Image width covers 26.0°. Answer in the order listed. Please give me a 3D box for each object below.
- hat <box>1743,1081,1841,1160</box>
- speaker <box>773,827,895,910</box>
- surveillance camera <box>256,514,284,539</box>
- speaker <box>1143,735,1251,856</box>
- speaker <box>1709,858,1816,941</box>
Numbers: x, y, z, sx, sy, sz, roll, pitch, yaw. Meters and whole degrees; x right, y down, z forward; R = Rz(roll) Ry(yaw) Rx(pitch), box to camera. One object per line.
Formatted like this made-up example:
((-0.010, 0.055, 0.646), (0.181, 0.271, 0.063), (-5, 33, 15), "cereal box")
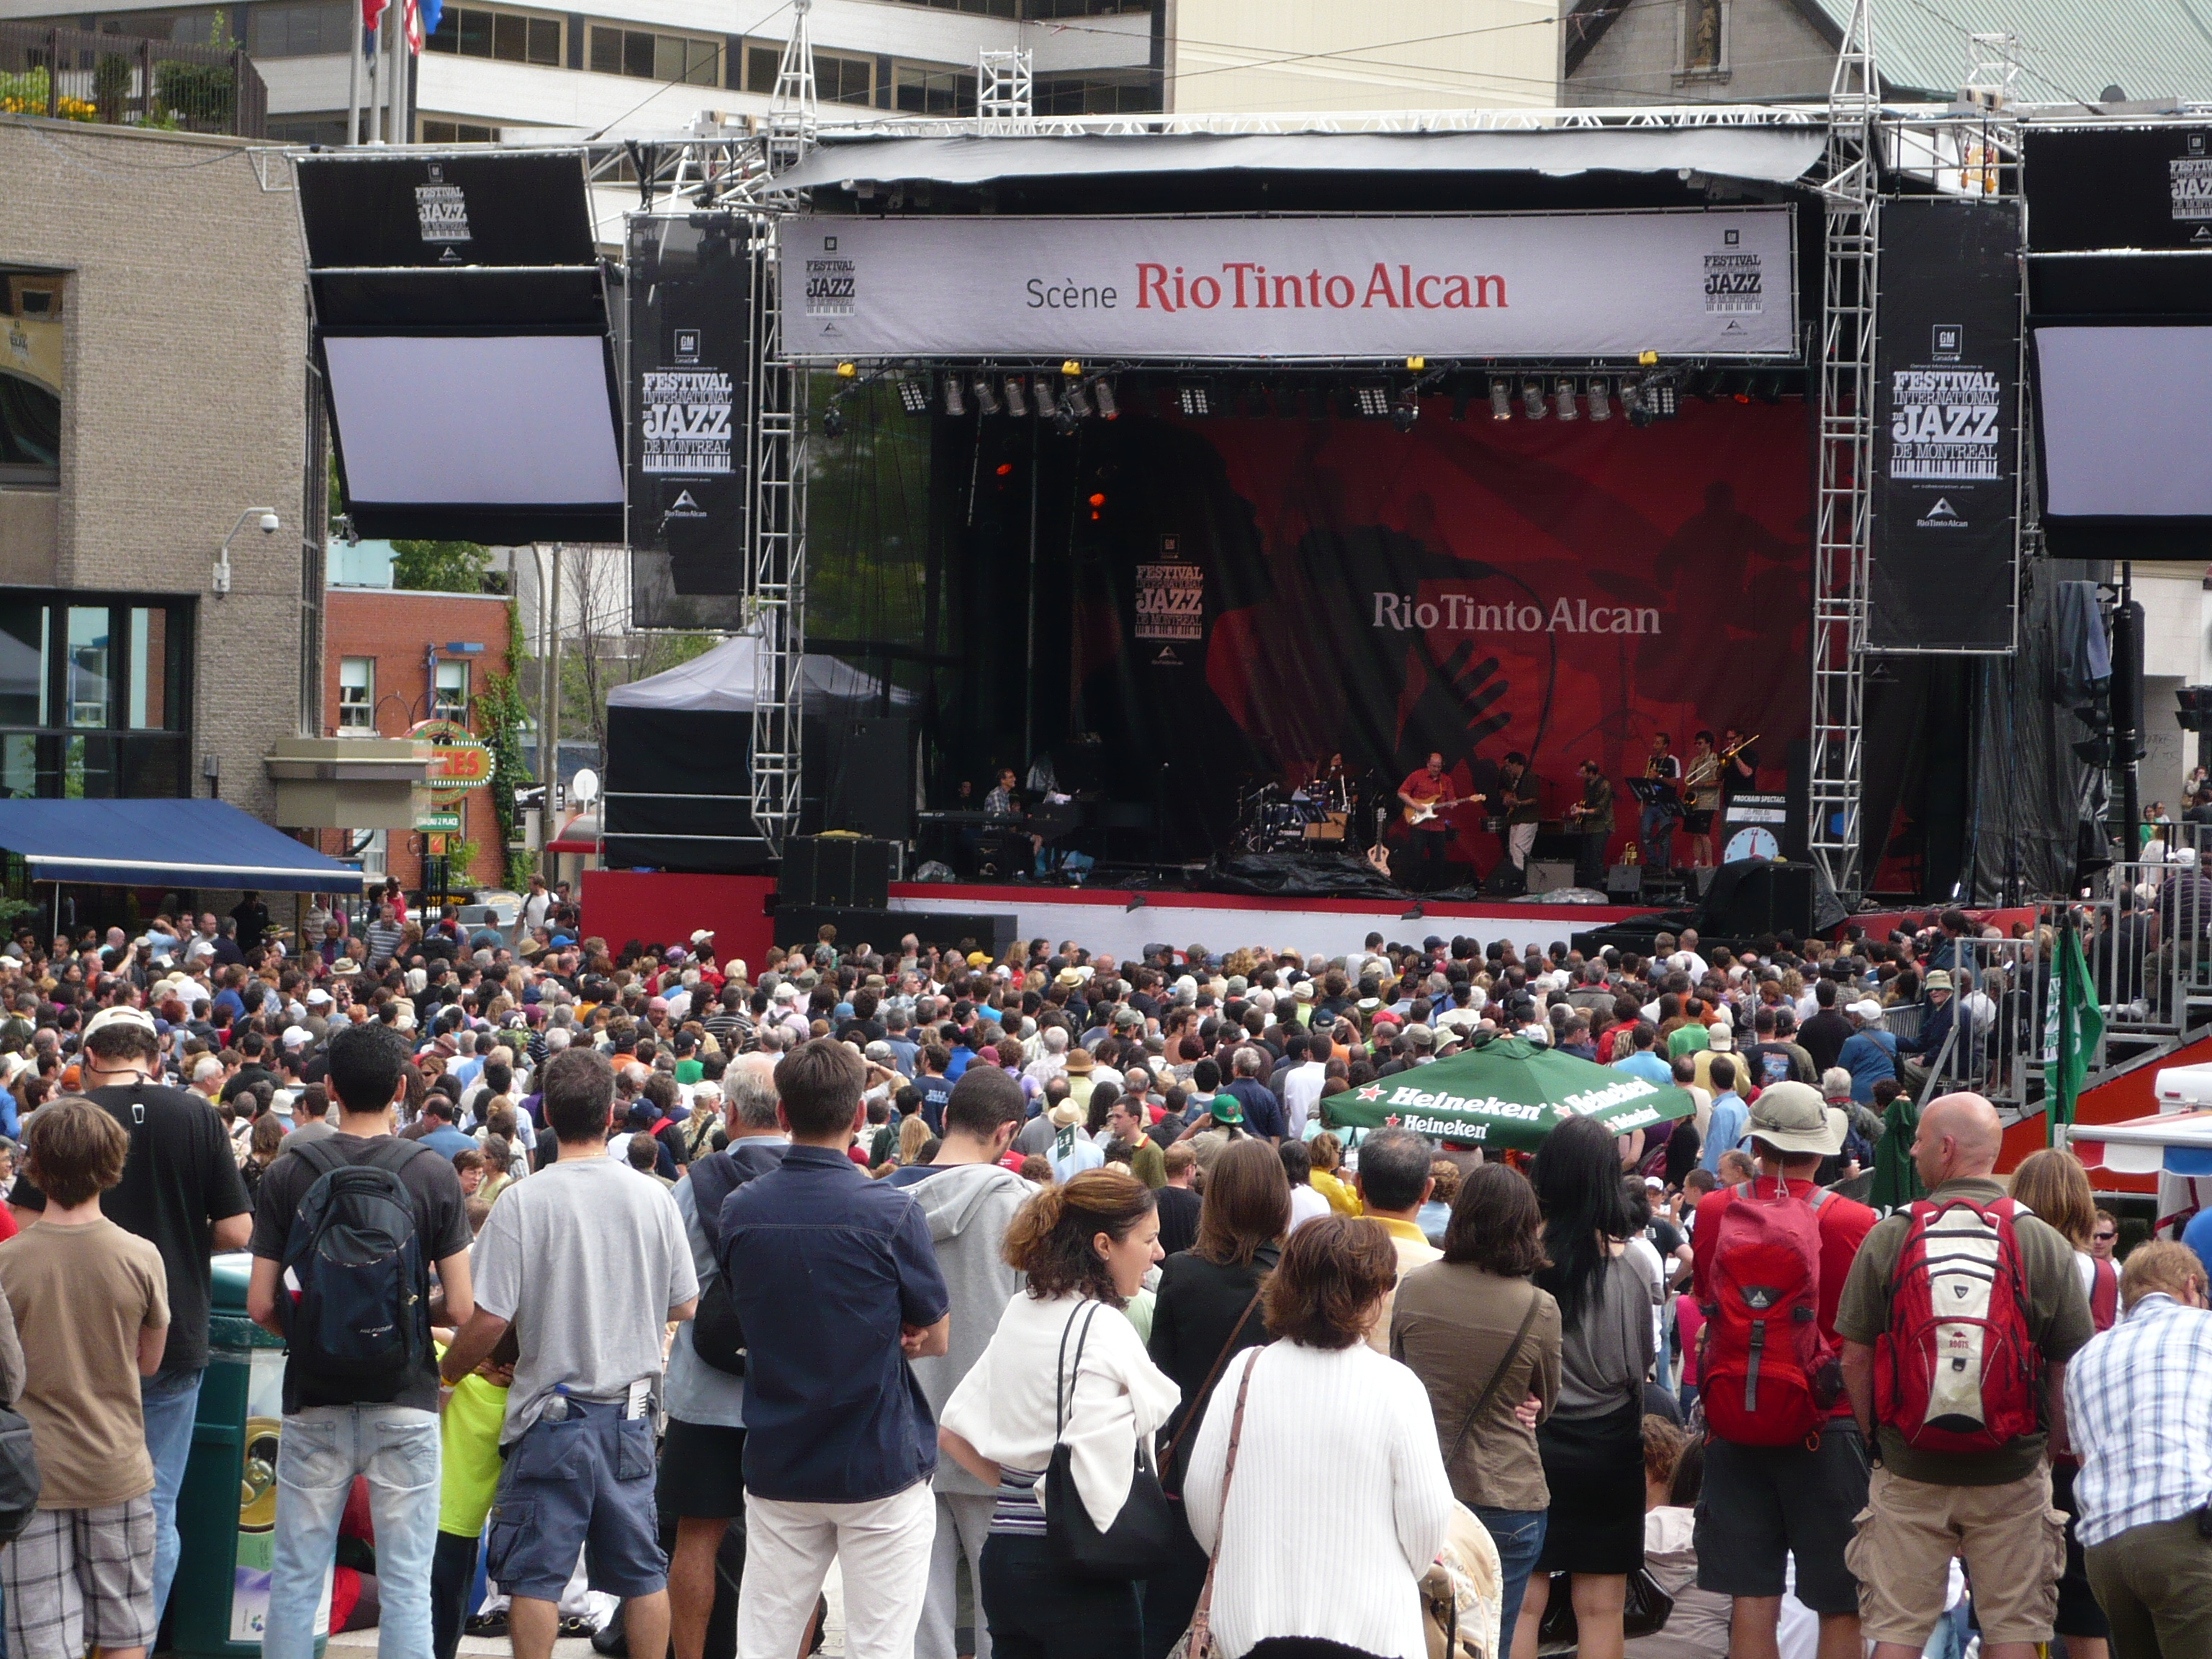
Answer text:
((4.028, 1.703, 28.168), (0.475, 0.447, 0.270), (0, -1, 0), "hat")
((-2.445, 0.380, 43.963), (1.035, 0.810, 0.600), (1, -4, 0), "speaker")
((-8.803, -3.212, 50.601), (0.181, 0.216, 0.194), (0, -3, -23), "surveillance camera")
((1.011, -0.291, 51.001), (1.062, 2.220, 1.133), (0, -4, 6), "speaker")
((5.775, 0.628, 42.428), (0.671, 0.789, 0.745), (-1, -1, 31), "speaker")
